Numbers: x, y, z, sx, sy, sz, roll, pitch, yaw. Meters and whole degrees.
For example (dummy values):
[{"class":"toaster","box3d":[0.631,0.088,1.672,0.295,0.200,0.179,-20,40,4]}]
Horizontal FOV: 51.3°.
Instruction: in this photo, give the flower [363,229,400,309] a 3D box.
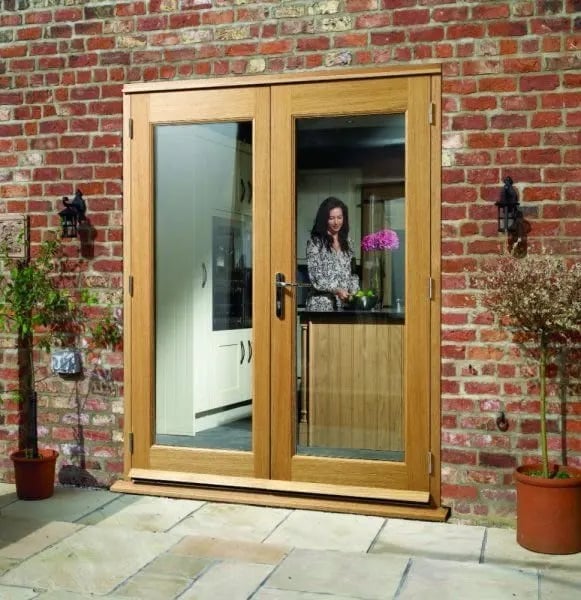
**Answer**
[{"class":"flower","box3d":[0.459,-0.181,3.100,0.186,0.354,0.048,0,-1,5]}]

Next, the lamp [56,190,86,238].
[{"class":"lamp","box3d":[-1.306,-0.509,3.493,0.176,0.289,0.153,0,-1,15]}]

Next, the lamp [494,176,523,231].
[{"class":"lamp","box3d":[1.031,-0.455,2.863,0.116,0.272,0.091,-1,-1,20]}]
